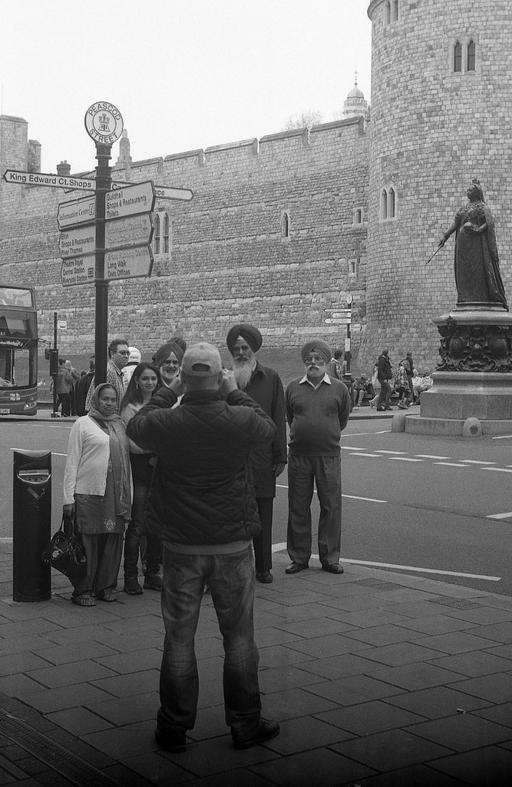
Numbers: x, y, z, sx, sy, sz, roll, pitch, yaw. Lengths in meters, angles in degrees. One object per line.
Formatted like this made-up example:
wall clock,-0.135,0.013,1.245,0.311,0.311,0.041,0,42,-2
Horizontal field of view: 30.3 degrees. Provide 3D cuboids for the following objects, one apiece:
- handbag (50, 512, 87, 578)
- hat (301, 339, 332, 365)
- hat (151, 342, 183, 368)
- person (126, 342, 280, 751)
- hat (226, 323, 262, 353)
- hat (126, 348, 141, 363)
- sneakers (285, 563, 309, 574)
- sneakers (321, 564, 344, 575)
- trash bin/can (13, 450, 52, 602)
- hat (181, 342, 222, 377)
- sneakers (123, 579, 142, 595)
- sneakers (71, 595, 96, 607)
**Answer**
handbag,-0.963,0.815,4.917,0.181,0.322,0.185,0,1,13
hat,0.401,-0.268,6.272,0.121,0.194,0.179,-1,-12,7
hat,-0.520,-0.232,5.599,0.134,0.226,0.210,1,-2,-14
person,-0.161,0.465,3.048,0.474,1.248,0.340,0,0,-9
hat,-0.060,-0.314,5.306,0.124,0.158,0.168,-2,5,9
hat,-0.913,-0.291,7.114,0.089,0.136,0.112,0,-3,-25
sneakers,0.249,1.084,5.859,0.048,0.077,0.156,-4,-9,26
sneakers,0.473,1.071,5.781,0.045,0.075,0.141,0,-5,-35
trash bin/can,-1.163,0.693,4.934,0.184,0.771,0.175,0,0,-17
hat,-0.192,-0.115,3.277,0.110,0.102,0.209,2,25,-2
sneakers,-0.670,1.063,5.187,0.047,0.069,0.129,1,-5,-23
sneakers,-0.884,1.063,4.863,0.128,0.048,0.119,0,2,-3
